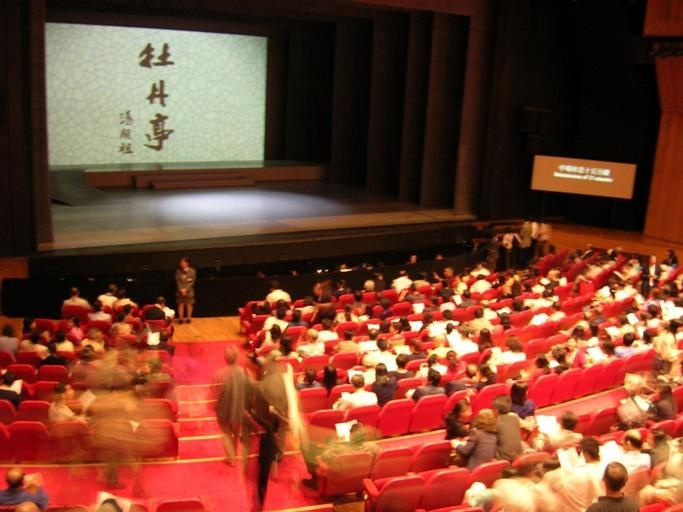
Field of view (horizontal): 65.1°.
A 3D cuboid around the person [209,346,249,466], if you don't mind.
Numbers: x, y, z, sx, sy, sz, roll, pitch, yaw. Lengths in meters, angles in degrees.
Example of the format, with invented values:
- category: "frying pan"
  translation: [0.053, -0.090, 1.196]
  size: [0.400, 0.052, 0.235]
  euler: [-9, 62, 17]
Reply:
- category: "person"
  translation: [-1.153, 1.619, 5.672]
  size: [0.367, 1.277, 0.626]
  euler: [-4, 3, -14]
